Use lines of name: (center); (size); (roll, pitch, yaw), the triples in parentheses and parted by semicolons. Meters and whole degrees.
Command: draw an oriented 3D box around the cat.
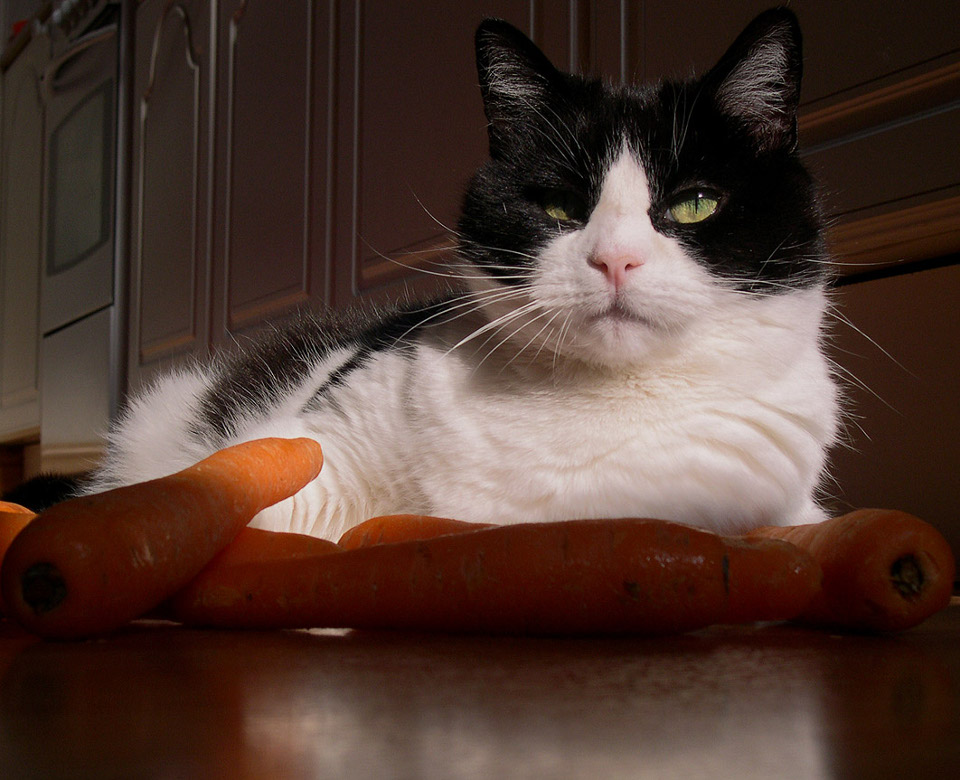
cat: (0.039, -0.031, 1.503); (0.627, 0.523, 1.015); (7, -16, -20)

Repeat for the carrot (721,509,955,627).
carrot: (0.359, 0.186, 1.074); (0.220, 0.094, 0.113); (-12, -100, 44)
